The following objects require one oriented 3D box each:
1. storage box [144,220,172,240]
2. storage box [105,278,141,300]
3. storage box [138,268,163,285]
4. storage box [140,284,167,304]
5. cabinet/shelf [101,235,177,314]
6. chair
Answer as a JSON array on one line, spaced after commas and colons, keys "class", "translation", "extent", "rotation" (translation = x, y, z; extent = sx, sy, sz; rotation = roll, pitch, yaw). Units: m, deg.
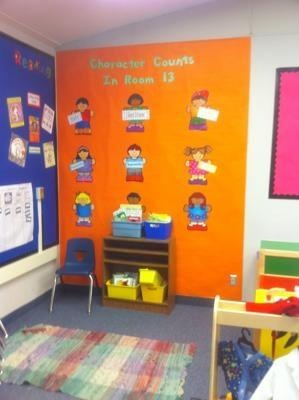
[{"class": "storage box", "translation": [0.065, 0.287, 3.025], "extent": [0.180, 0.129, 0.188], "rotation": [1, 1, 9]}, {"class": "storage box", "translation": [-0.262, 0.857, 3.115], "extent": [0.231, 0.115, 0.163], "rotation": [2, -1, 9]}, {"class": "storage box", "translation": [0.009, 0.729, 3.075], "extent": [0.196, 0.162, 0.277], "rotation": [2, 3, 17]}, {"class": "storage box", "translation": [0.034, 0.881, 3.014], "extent": [0.202, 0.140, 0.160], "rotation": [-1, -2, 12]}, {"class": "cabinet/shelf", "translation": [-0.085, 0.724, 3.102], "extent": [0.662, 0.668, 0.243], "rotation": [0, -1, 17]}, {"class": "chair", "translation": [-0.712, 0.700, 3.263], "extent": [0.475, 0.866, 0.635], "rotation": [1, -2, 2]}]
